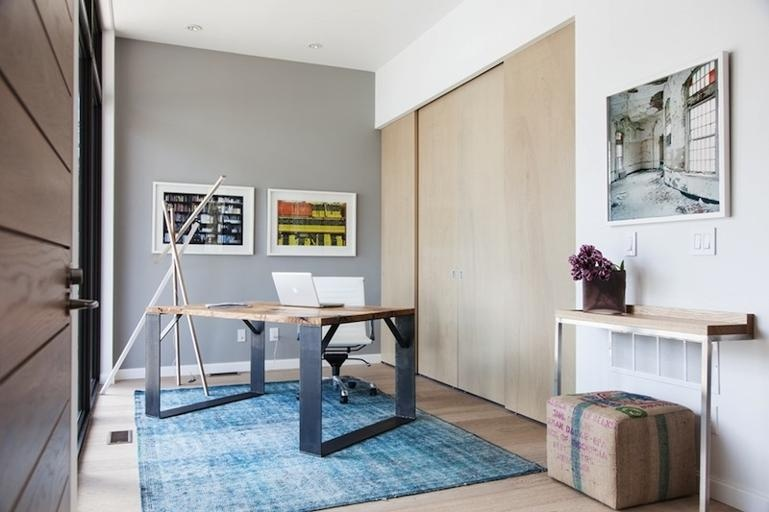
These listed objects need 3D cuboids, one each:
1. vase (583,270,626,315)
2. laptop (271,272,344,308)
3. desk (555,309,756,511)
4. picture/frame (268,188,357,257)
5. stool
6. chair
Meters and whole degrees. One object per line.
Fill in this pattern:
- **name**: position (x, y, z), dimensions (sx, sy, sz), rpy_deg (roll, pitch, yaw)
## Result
- **vase**: position (1.293, 0.204, 3.165), dimensions (0.245, 0.227, 0.246), rpy_deg (0, 0, -4)
- **laptop**: position (-0.602, 0.250, 4.088), dimensions (0.350, 0.211, 0.319), rpy_deg (0, -3, 40)
- **desk**: position (1.484, 0.847, 2.882), dimensions (0.377, 0.952, 1.014), rpy_deg (1, -1, -27)
- **picture/frame**: position (-0.851, -0.376, 6.051), dimensions (0.780, 0.577, 0.028), rpy_deg (2, -4, -30)
- **stool**: position (1.313, 1.002, 3.018), dimensions (0.572, 0.489, 0.586), rpy_deg (1, -1, -25)
- **chair**: position (-0.261, 0.710, 5.079), dimensions (0.816, 1.374, 0.945), rpy_deg (0, -6, -2)
